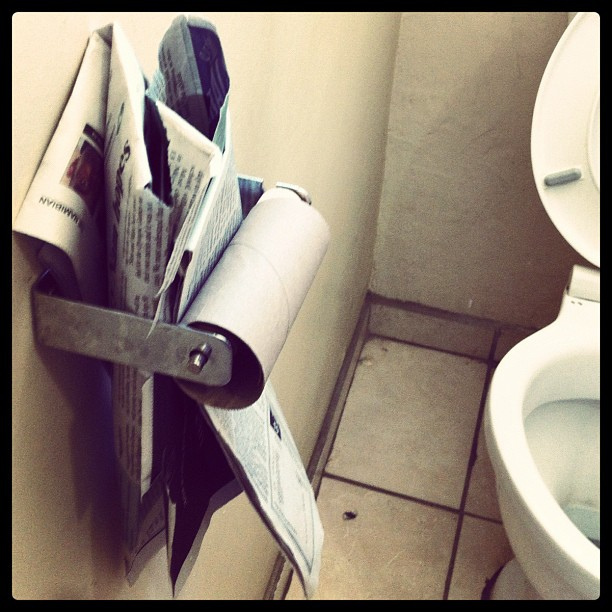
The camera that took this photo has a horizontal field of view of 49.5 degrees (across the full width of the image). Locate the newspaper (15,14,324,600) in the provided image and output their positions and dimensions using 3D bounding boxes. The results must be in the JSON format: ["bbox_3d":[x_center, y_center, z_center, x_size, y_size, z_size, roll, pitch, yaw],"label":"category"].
[{"bbox_3d":[-0.061,0.041,0.413,0.147,0.398,0.149,2,33,2],"label":"newspaper"}]
